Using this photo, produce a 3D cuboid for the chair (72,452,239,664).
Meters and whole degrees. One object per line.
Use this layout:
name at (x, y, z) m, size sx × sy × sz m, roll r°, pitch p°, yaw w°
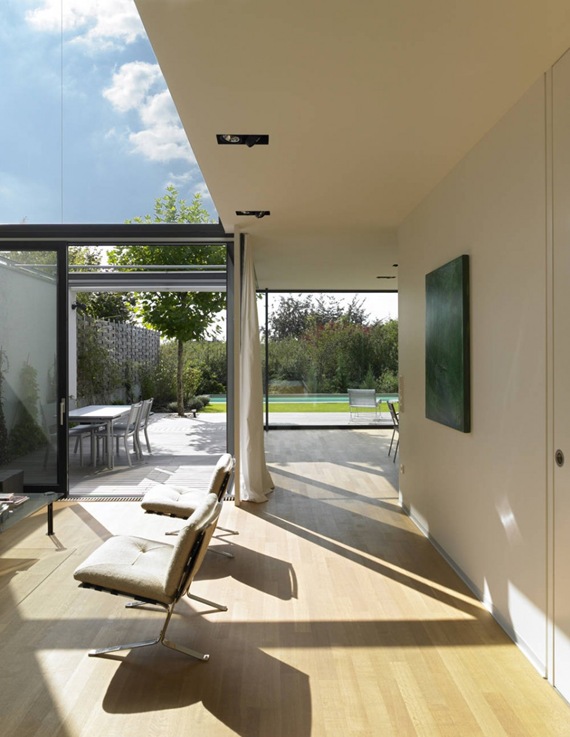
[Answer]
chair at (-0.578, 0.869, 2.303) m, size 0.561 × 0.796 × 1.016 m, roll 3°, pitch -4°, yaw 3°
